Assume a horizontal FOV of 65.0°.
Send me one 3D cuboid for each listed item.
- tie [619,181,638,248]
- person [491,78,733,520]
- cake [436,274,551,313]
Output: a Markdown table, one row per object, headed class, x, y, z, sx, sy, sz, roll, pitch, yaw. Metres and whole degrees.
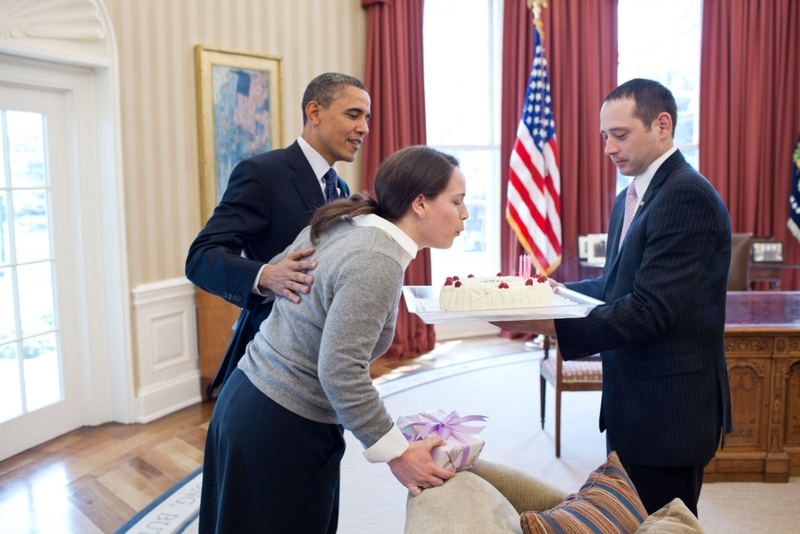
| class | x | y | z | sx | sy | sz | roll | pitch | yaw |
| --- | --- | --- | --- | --- | --- | --- | --- | --- | --- |
| tie | 1.172 | -0.278 | 3.203 | 0.037 | 0.369 | 0.076 | 29 | -28 | -36 |
| person | 1.198 | 0.149 | 3.028 | 0.759 | 2.126 | 0.517 | 0 | 9 | 22 |
| cake | 0.490 | 0.141 | 3.216 | 0.361 | 0.124 | 0.265 | -3 | 4 | 4 |
